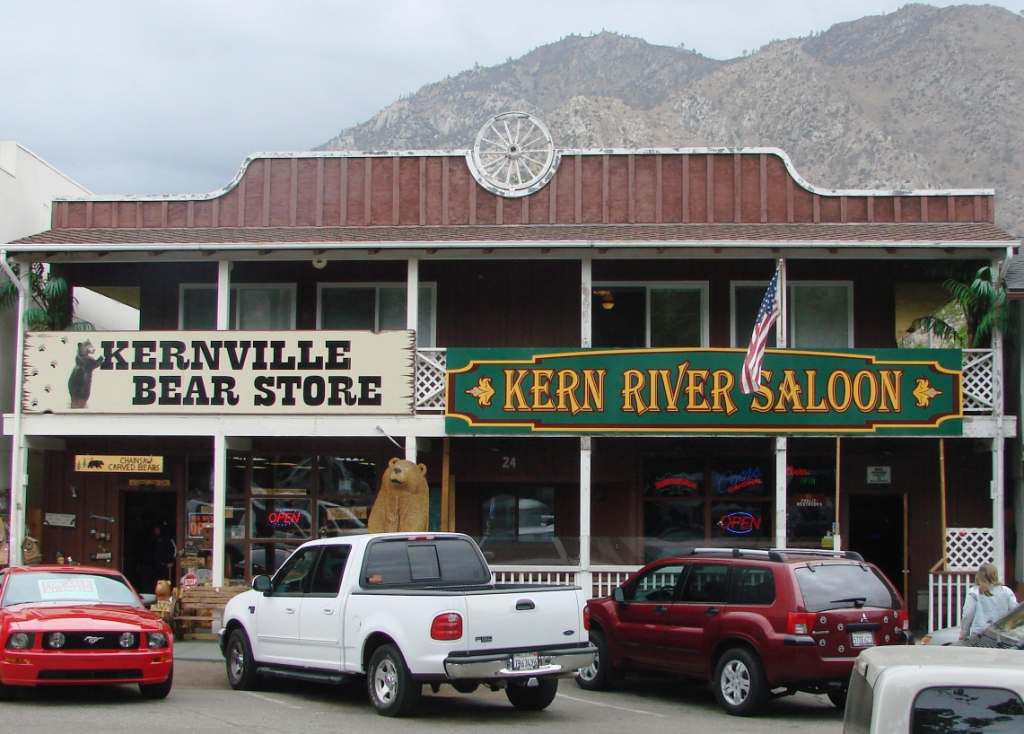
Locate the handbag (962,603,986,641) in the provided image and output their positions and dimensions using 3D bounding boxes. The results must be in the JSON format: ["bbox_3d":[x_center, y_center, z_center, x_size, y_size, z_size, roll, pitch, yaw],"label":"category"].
[{"bbox_3d":[7.062,3.902,24.044,0.299,0.696,0.112,18,-6,-10],"label":"handbag"}]

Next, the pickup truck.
[{"bbox_3d":[-1.910,3.858,24.329,4.947,1.854,2.580,0,-5,43],"label":"pickup truck"}]

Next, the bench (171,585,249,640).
[{"bbox_3d":[-5.901,4.662,29.963,1.322,0.923,1.349,0,-8,0],"label":"bench"}]

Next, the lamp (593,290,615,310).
[{"bbox_3d":[1.965,-1.353,32.995,0.409,0.391,0.099,9,-1,-4],"label":"lamp"}]
